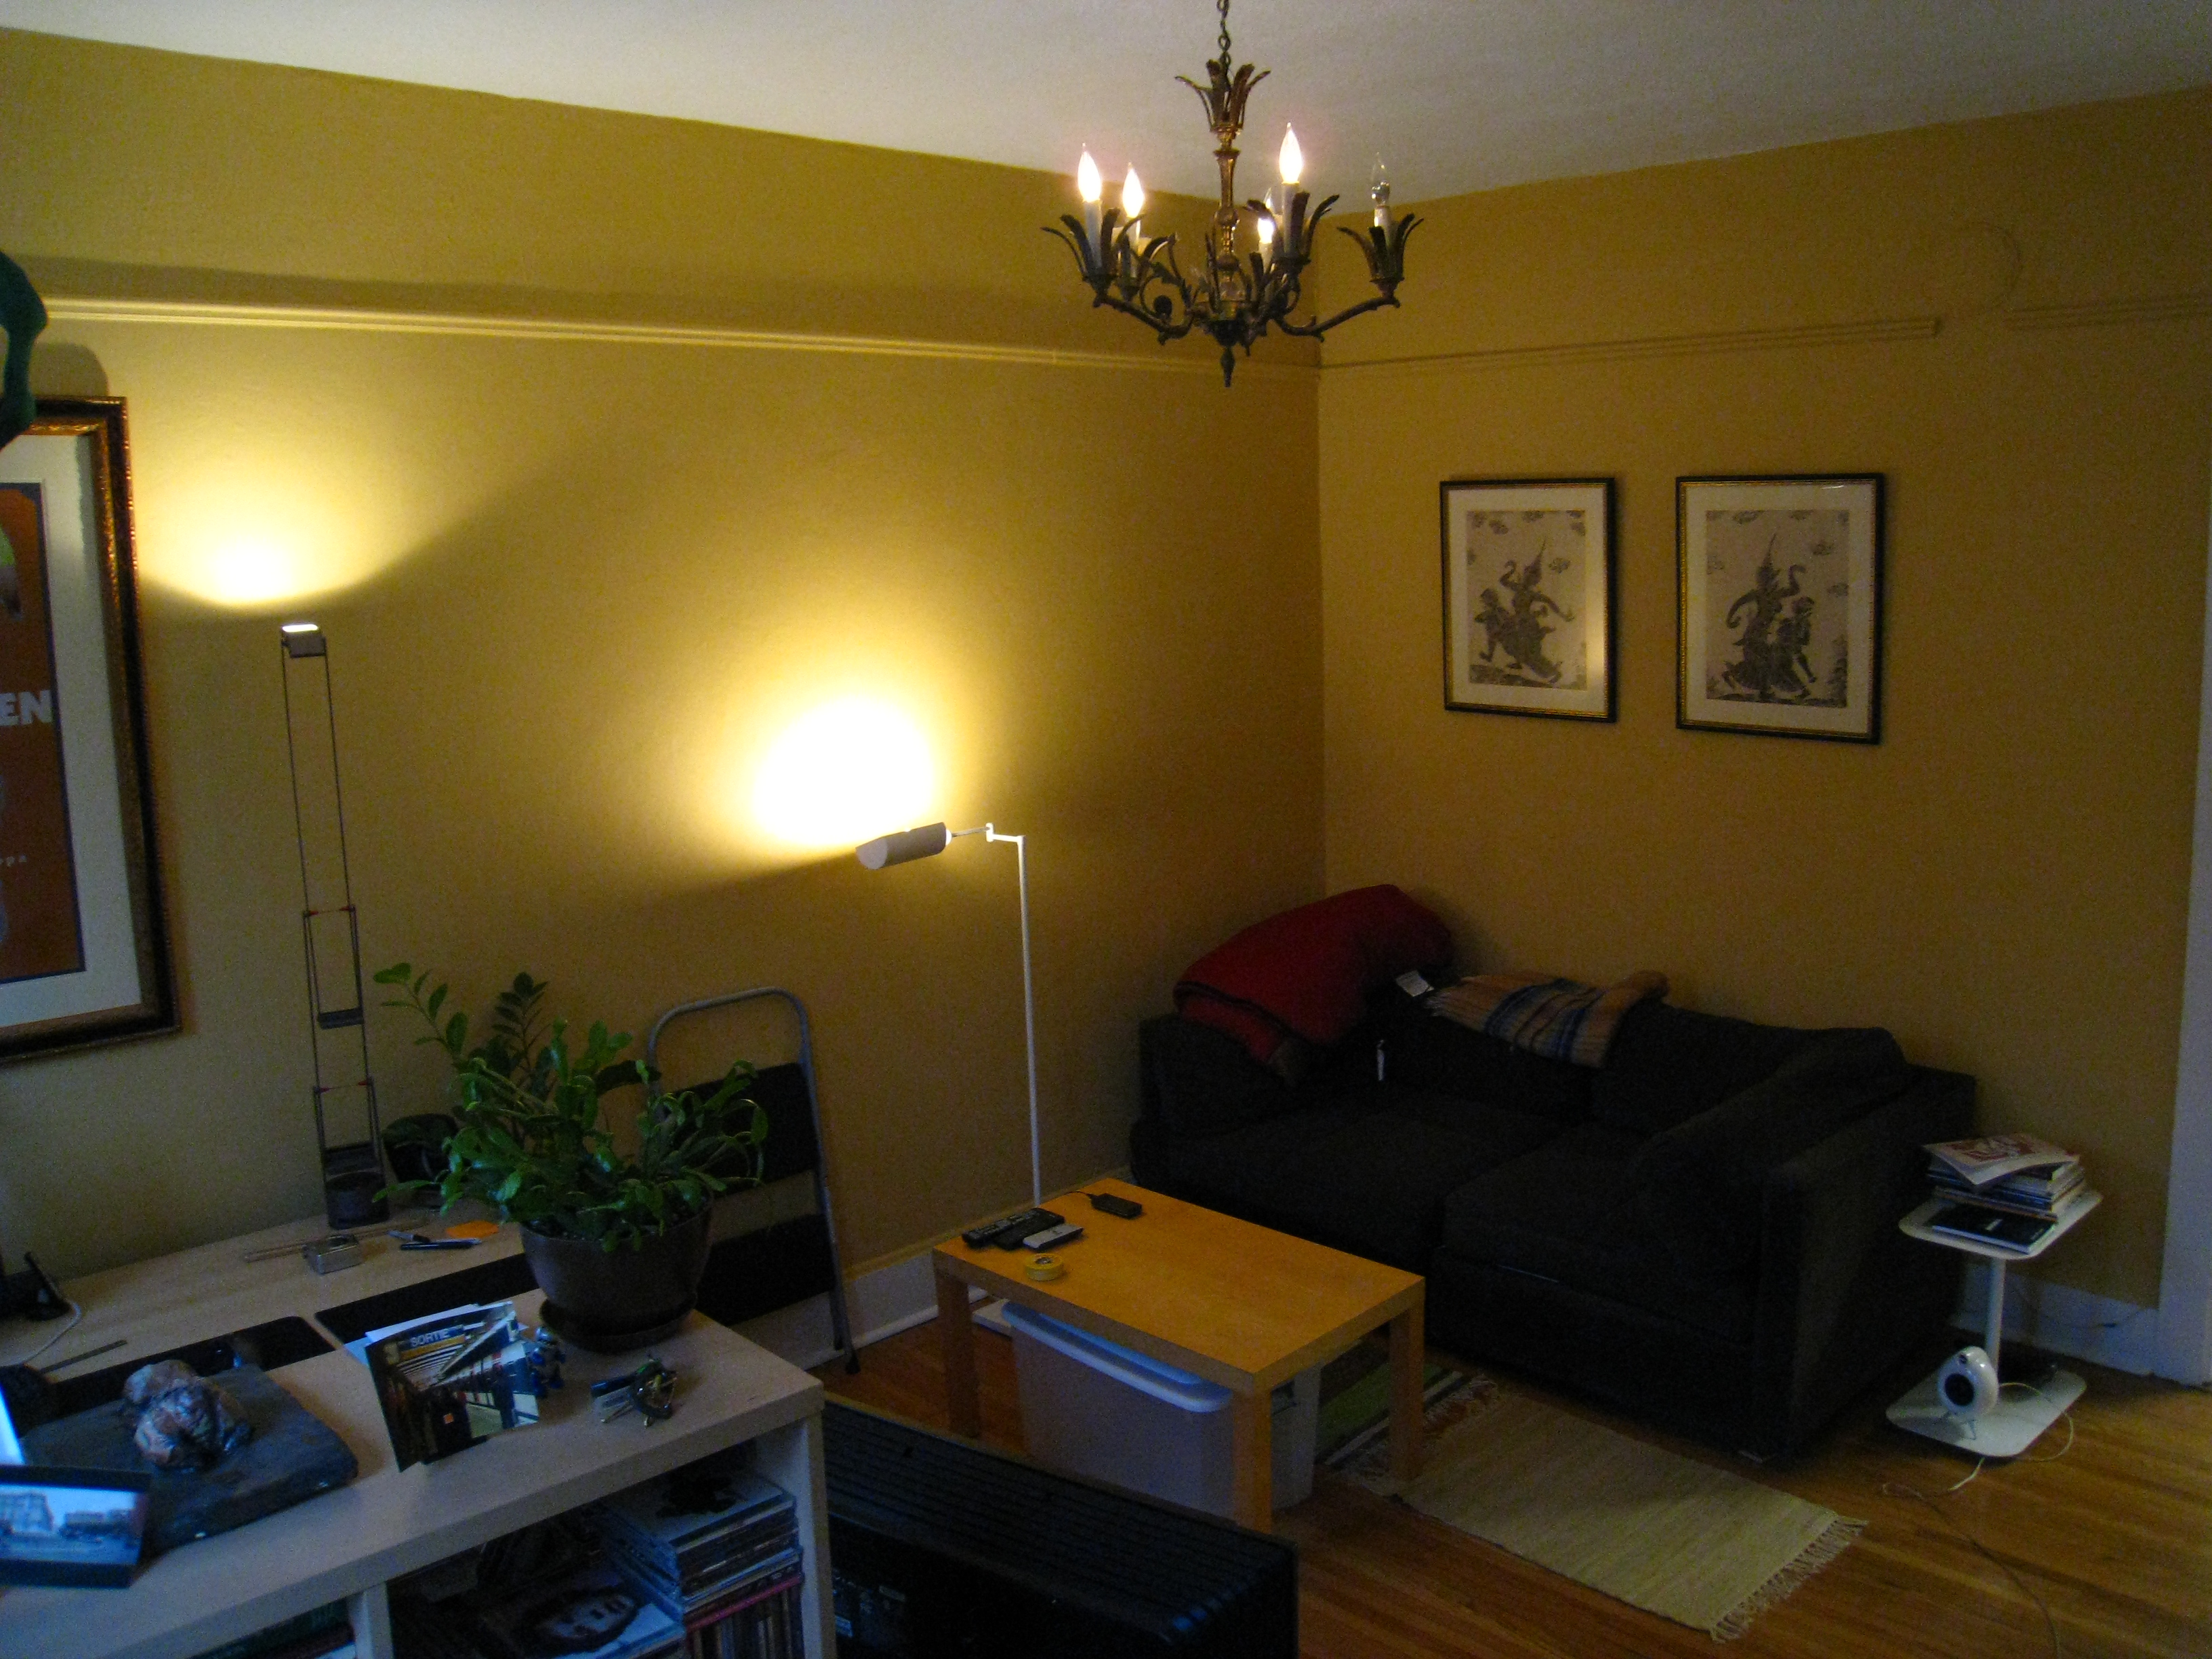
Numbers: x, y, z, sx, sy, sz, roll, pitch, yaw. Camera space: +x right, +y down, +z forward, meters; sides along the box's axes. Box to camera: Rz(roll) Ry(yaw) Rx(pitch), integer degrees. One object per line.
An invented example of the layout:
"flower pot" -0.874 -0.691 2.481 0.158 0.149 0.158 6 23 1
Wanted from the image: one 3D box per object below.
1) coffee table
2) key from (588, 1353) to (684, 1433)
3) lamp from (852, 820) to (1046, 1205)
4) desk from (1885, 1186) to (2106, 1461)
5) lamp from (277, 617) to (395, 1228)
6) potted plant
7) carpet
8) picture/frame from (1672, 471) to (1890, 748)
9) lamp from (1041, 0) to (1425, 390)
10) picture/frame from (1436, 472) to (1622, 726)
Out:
"coffee table" 0.182 1.473 4.681 1.212 0.596 0.781 7 10 44
"key" -0.878 1.037 3.129 0.111 0.042 0.111 -6 26 -14
"lamp" -0.452 0.629 5.394 0.271 1.342 0.764 3 8 38
"desk" 2.435 1.390 4.928 0.480 0.715 0.776 3 3 41
"lamp" -1.937 0.351 4.245 0.199 1.318 0.186 -9 -4 15
"potted plant" -1.042 0.666 3.331 0.706 0.759 0.482 -4 7 -45
"carpet" 1.303 1.765 4.451 1.139 0.198 0.660 3 8 41
"picture/frame" 2.142 -0.711 5.289 0.841 1.142 0.041 3 5 41
"lamp" 0.307 -1.744 4.567 1.015 1.320 1.032 -1 21 7
"picture/frame" 1.491 -0.824 5.858 0.876 1.089 0.076 2 4 42
